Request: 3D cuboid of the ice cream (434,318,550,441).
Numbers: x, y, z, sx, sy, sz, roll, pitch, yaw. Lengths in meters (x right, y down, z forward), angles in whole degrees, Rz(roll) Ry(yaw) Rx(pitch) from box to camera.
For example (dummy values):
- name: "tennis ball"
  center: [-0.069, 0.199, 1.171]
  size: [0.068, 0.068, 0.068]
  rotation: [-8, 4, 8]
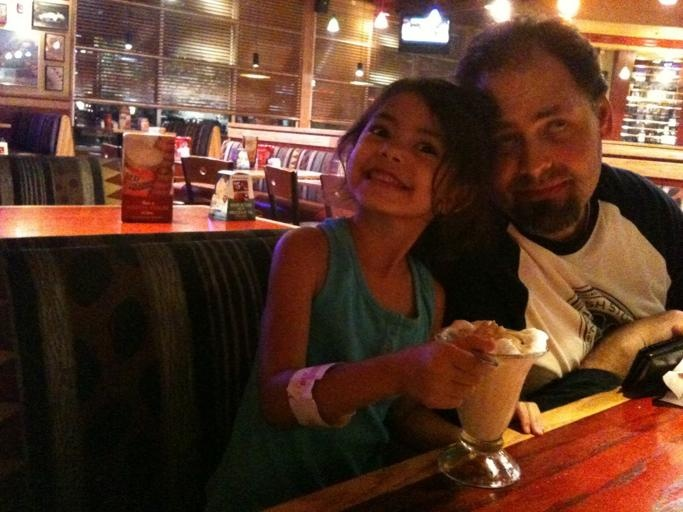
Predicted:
- name: "ice cream"
  center: [0.281, 0.250, 1.015]
  size: [0.215, 0.224, 0.214]
  rotation: [3, -1, -2]

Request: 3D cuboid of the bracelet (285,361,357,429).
- name: "bracelet"
  center: [-0.063, 0.263, 1.052]
  size: [0.141, 0.115, 0.134]
  rotation: [-9, 17, -36]
